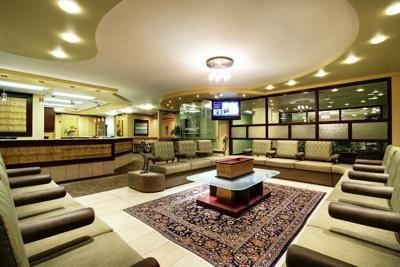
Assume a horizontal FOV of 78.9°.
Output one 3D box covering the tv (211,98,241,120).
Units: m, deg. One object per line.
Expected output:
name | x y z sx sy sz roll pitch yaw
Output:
tv | 0.927 -0.878 8.812 0.827 0.558 0.107 0 -4 7

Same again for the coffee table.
coffee table | 0.570 1.218 5.086 0.885 0.434 1.292 -1 1 43
